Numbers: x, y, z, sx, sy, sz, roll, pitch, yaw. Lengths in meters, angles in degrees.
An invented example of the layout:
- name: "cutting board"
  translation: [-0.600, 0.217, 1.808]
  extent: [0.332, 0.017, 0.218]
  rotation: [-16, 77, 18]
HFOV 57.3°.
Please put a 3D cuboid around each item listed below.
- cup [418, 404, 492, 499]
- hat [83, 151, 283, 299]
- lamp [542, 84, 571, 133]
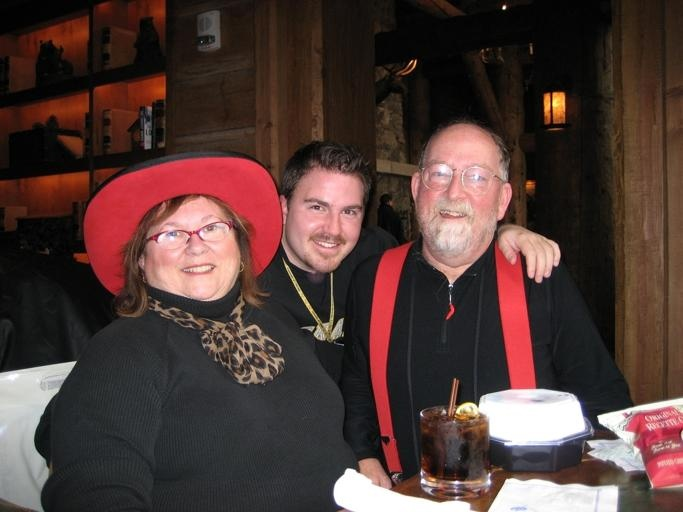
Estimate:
- name: "cup"
  translation: [0.304, 0.514, 1.673]
  extent: [0.190, 0.206, 0.184]
  rotation: [0, 3, 0]
- name: "hat"
  translation: [-0.548, -0.014, 2.145]
  extent: [0.649, 0.175, 0.618]
  rotation: [-27, -17, 36]
- name: "lamp"
  translation: [1.483, -0.982, 4.118]
  extent: [0.150, 0.280, 0.155]
  rotation: [-9, 14, -13]
